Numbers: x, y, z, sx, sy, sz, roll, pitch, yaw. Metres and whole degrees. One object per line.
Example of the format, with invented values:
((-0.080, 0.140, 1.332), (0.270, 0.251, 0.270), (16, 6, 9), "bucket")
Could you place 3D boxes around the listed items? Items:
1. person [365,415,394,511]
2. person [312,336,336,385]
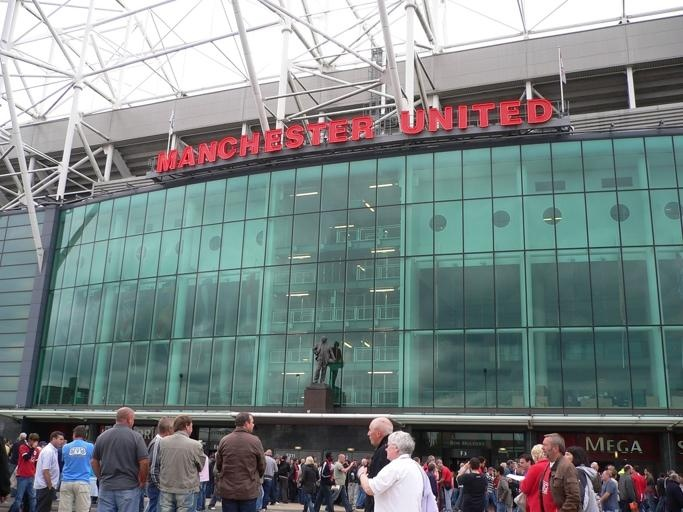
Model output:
((0.718, 3.511, 11.853), (0.426, 1.044, 0.940), (-2, -16, 2), "person")
((-0.968, 5.572, 34.463), (1.126, 2.548, 0.838), (-1, -17, -2), "person")
